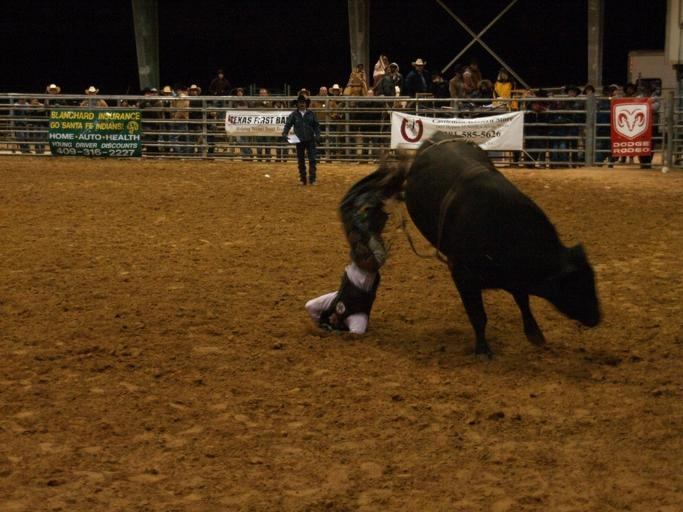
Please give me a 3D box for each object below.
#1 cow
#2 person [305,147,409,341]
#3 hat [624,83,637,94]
[{"bbox_3d":[1.178,-0.031,5.055,0.749,1.718,1.720,-5,14,-16],"label":"cow"},{"bbox_3d":[0.189,-0.105,5.888,0.834,1.569,0.502,-10,18,-34],"label":"person"},{"bbox_3d":[6.905,-4.006,15.357,0.225,0.290,0.578,5,13,19],"label":"hat"}]
